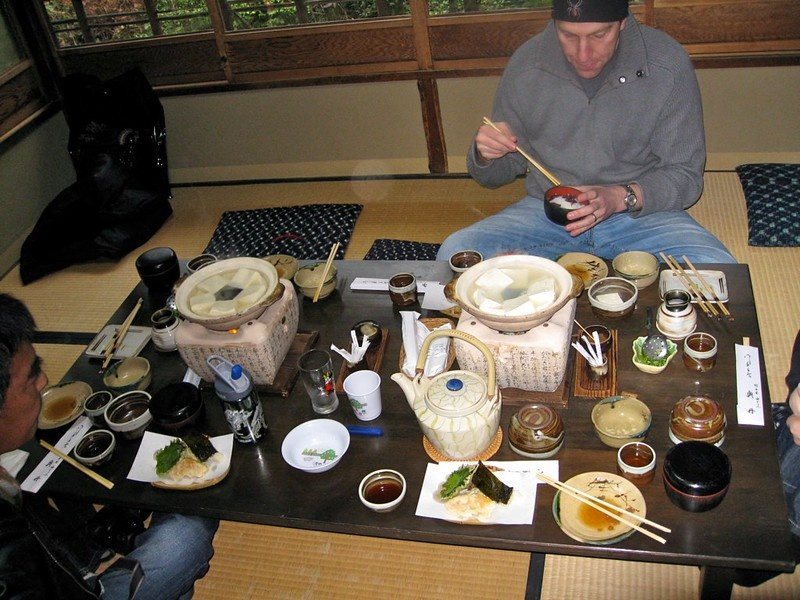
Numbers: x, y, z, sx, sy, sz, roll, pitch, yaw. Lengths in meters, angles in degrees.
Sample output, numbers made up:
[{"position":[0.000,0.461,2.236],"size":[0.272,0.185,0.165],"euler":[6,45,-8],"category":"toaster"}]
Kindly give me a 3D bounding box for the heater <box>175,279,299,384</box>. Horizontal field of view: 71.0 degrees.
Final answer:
[{"position":[-0.632,0.192,2.333],"size":[0.450,0.299,0.424],"euler":[-1,39,19],"category":"heater"}]

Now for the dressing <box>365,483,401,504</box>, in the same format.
[{"position":[-0.053,0.624,1.817],"size":[0.120,0.017,0.075],"euler":[-8,41,-3],"category":"dressing"}]

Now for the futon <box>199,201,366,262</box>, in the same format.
[{"position":[-1.039,-0.572,4.661],"size":[1.128,0.089,1.476],"euler":[-6,-5,-23],"category":"futon"}]

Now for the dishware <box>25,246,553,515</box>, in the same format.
[{"position":[-0.399,0.150,1.865],"size":[1.339,0.315,0.894],"euler":[2,57,12],"category":"dishware"}]

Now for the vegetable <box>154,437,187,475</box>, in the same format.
[{"position":[-0.811,0.554,1.981],"size":[0.078,0.033,0.131],"euler":[47,63,0],"category":"vegetable"}]

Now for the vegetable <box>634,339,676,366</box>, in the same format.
[{"position":[0.924,0.190,2.043],"size":[0.115,0.031,0.116],"euler":[-3,43,26],"category":"vegetable"}]

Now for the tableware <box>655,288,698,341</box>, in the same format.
[{"position":[1.079,0.054,2.181],"size":[0.140,0.172,0.185],"euler":[13,40,41],"category":"tableware"}]

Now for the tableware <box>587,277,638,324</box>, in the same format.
[{"position":[0.868,-0.006,2.283],"size":[0.189,0.095,0.198],"euler":[0,36,21],"category":"tableware"}]

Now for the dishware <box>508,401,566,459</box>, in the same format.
[{"position":[0.456,0.427,1.883],"size":[0.187,0.109,0.182],"euler":[-31,39,-22],"category":"dishware"}]

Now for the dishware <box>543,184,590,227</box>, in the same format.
[{"position":[0.781,-0.473,2.703],"size":[0.186,0.106,0.188],"euler":[-1,38,3],"category":"dishware"}]

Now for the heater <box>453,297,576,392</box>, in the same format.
[{"position":[0.412,0.180,2.035],"size":[0.377,0.166,0.361],"euler":[4,48,14],"category":"heater"}]

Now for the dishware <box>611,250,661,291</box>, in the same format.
[{"position":[1.008,-0.121,2.410],"size":[0.188,0.088,0.185],"euler":[18,48,40],"category":"dishware"}]
